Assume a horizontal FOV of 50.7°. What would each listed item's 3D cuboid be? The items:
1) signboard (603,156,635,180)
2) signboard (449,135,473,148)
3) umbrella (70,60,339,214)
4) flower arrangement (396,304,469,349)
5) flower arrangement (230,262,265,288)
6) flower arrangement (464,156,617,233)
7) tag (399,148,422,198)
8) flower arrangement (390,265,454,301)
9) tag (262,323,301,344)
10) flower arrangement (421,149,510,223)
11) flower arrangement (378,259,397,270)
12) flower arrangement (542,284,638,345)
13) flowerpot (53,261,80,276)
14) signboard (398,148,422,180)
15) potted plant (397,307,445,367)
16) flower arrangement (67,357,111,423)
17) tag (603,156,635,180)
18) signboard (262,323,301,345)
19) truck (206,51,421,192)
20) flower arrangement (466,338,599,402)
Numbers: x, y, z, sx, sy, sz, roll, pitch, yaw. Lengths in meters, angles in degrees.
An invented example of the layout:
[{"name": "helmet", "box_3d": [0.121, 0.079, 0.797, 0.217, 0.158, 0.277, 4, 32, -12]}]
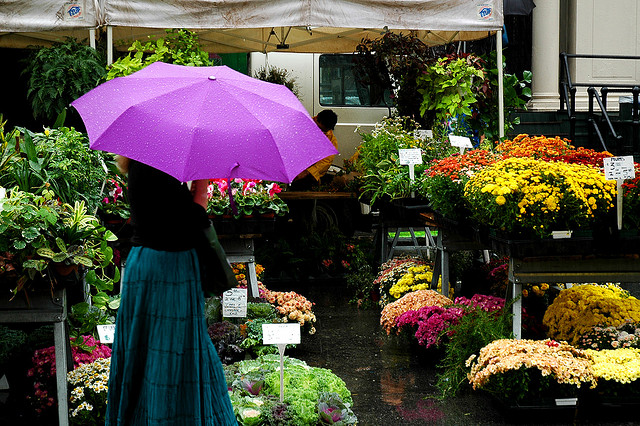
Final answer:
[{"name": "signboard", "box_3d": [2.345, -0.357, 5.293, 0.203, 0.191, 0.198, 2, 34, 14]}, {"name": "signboard", "box_3d": [1.525, -0.771, 7.241, 0.325, 0.146, 0.167, -10, 14, -37]}, {"name": "umbrella", "box_3d": [-0.772, -0.609, 4.444, 1.060, 0.642, 1.083, 22, 41, 0]}, {"name": "flower arrangement", "box_3d": [0.979, 1.088, 6.443, 0.543, 0.354, 0.668, -4, 11, -9]}, {"name": "flower arrangement", "box_3d": [-0.810, 0.724, 8.407, 0.251, 0.332, 0.272, -23, -1, -5]}, {"name": "flower arrangement", "box_3d": [1.897, -0.208, 5.850, 1.241, 0.614, 1.266, -8, 11, -33]}, {"name": "tag", "box_3d": [1.004, -0.471, 7.411, 0.254, 0.517, 0.096, -3, 40, 14]}, {"name": "flower arrangement", "box_3d": [1.087, 0.719, 7.523, 0.525, 0.298, 0.456, 16, -9, -31]}, {"name": "tag", "box_3d": [-0.296, 0.913, 5.088, 0.213, 0.127, 0.028, 1, -24, -5]}, {"name": "flower arrangement", "box_3d": [1.358, -0.284, 6.337, 0.654, 0.522, 0.700, 0, 4, 5]}, {"name": "flower arrangement", "box_3d": [0.811, 0.621, 8.115, 0.165, 0.054, 0.163, -16, 11, 6]}, {"name": "flower arrangement", "box_3d": [2.414, 0.843, 6.070, 0.609, 0.390, 0.549, 0, 1, 44]}, {"name": "flowerpot", "box_3d": [-1.858, 0.396, 4.892, 0.106, 0.080, 0.106, 1, 1, -3]}, {"name": "signboard", "box_3d": [0.987, -0.525, 7.324, 0.238, 0.324, 0.016, -1, 4, 15]}, {"name": "potted plant", "box_3d": [0.950, 1.197, 6.364, 0.543, 0.559, 0.460, -1, -2, -4]}, {"name": "flower arrangement", "box_3d": [-1.790, 1.405, 5.237, 0.302, 0.371, 0.425, -4, 12, -18]}, {"name": "tag", "box_3d": [2.348, -0.357, 5.292, 0.201, 0.192, 0.197, 2, 18, 18]}, {"name": "signboard", "box_3d": [-0.296, 0.915, 5.092, 0.229, 0.135, 0.030, 0, -4, -3]}, {"name": "truck", "box_3d": [0.550, -1.642, 11.318, 3.312, 1.866, 2.142, -3, 10, -10]}, {"name": "flower arrangement", "box_3d": [1.658, 1.242, 5.325, 0.607, 0.227, 0.599, -4, 11, 1]}]
